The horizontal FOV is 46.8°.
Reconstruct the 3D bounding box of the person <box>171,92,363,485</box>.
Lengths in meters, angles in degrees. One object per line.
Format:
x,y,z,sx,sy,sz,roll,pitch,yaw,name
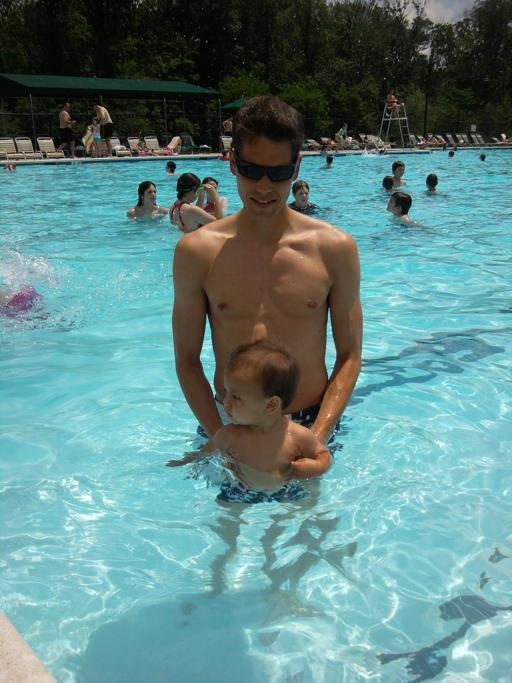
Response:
0.044,-0.002,2.142,0.762,1.575,0.630,0,15,0,person

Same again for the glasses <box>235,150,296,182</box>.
0.029,-0.560,1.923,0.175,0.086,0.066,-1,15,0,glasses
